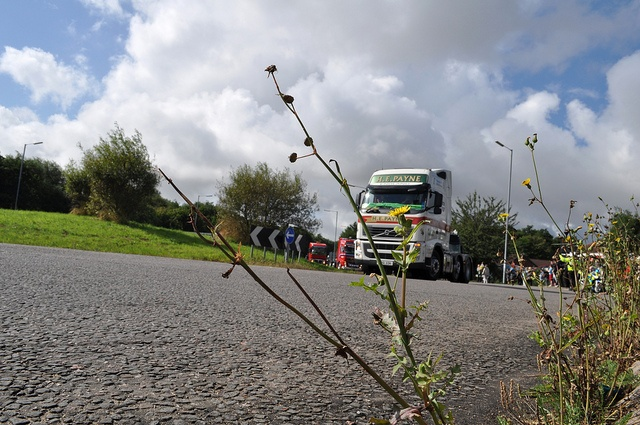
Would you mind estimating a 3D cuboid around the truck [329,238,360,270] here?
[{"bbox_3d":[2.487,4.000,36.998,1.587,2.354,4.581,3,-13,-11],"label":"truck"}]

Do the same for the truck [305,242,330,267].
[{"bbox_3d":[-0.308,5.074,47.629,1.554,2.240,4.275,3,-12,-6],"label":"truck"}]

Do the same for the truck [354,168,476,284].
[{"bbox_3d":[4.494,0.779,16.548,3.262,4.416,7.103,2,-8,37],"label":"truck"}]
